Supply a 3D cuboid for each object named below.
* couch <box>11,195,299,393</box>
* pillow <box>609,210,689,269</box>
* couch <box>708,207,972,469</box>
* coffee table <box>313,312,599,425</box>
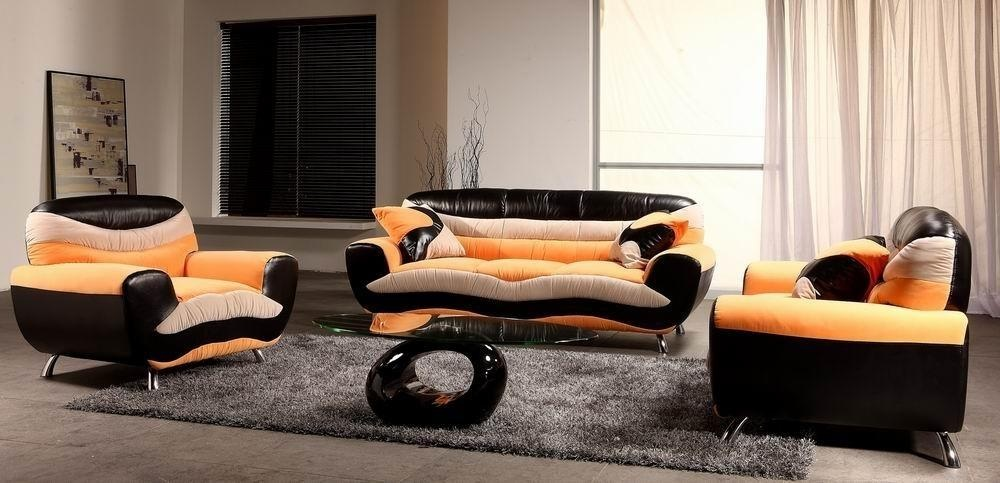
[{"bbox_3d":[-3.039,0.414,5.971,2.185,1.493,2.105,2,3,27],"label":"couch"},{"bbox_3d":[1.566,-0.014,6.651,0.734,0.548,0.398,-4,11,-23],"label":"pillow"},{"bbox_3d":[2.893,0.557,5.451,1.848,1.429,2.295,-2,9,26],"label":"couch"},{"bbox_3d":[-0.483,1.067,4.968,2.390,0.633,0.944,7,-11,13],"label":"coffee table"}]
